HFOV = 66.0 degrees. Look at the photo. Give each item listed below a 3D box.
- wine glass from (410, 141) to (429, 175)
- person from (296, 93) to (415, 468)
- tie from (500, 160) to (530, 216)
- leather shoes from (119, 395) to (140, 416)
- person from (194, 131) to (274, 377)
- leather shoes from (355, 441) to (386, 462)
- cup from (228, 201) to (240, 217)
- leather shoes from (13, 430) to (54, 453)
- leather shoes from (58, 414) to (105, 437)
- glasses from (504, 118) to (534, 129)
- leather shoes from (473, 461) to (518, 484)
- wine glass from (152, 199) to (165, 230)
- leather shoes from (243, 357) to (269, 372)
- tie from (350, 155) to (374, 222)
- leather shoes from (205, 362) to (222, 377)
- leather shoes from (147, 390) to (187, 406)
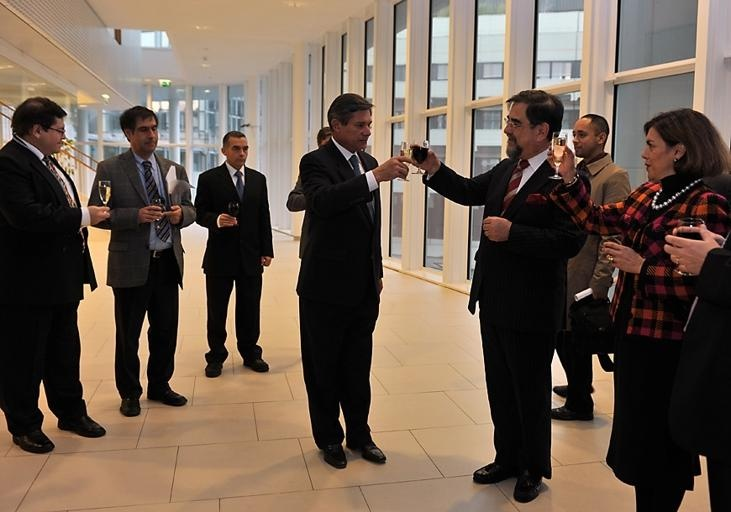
[{"bbox_3d":[0.315,-0.607,3.361,0.133,0.188,0.118,-5,19,-14],"label":"wine glass"},{"bbox_3d":[-0.129,0.160,3.572,0.600,2.316,0.479,0,10,-7],"label":"person"},{"bbox_3d":[0.870,-0.418,3.295,0.072,0.504,0.070,28,-19,-31],"label":"tie"},{"bbox_3d":[-1.758,1.118,4.216,0.141,0.115,0.141,-4,11,-24],"label":"leather shoes"},{"bbox_3d":[-1.180,-0.051,5.104,0.658,2.140,0.631,-2,11,-17],"label":"person"},{"bbox_3d":[0.028,1.276,3.706,0.080,0.079,0.213,1,0,-41],"label":"leather shoes"},{"bbox_3d":[-1.138,-0.402,4.883,0.098,0.154,0.433,-1,11,-13],"label":"cup"},{"bbox_3d":[-2.221,1.215,3.759,0.310,0.129,0.114,1,-1,18],"label":"leather shoes"},{"bbox_3d":[-1.957,1.165,3.966,0.364,0.145,0.134,4,-1,6],"label":"leather shoes"},{"bbox_3d":[0.866,-0.763,3.212,0.088,0.027,0.086,7,10,-15],"label":"glasses"},{"bbox_3d":[0.778,1.344,3.511,0.315,0.122,0.106,1,-9,-5],"label":"leather shoes"},{"bbox_3d":[-1.500,-0.315,4.072,0.086,0.090,0.207,-19,-26,-33],"label":"wine glass"},{"bbox_3d":[-1.010,0.991,5.172,0.260,0.092,0.096,-4,-1,41],"label":"leather shoes"},{"bbox_3d":[-0.028,-0.445,3.584,0.109,0.346,0.256,-11,6,10],"label":"tie"},{"bbox_3d":[-1.353,1.004,5.004,0.135,0.083,0.182,-2,11,-14],"label":"leather shoes"},{"bbox_3d":[-1.543,1.091,4.440,0.328,0.116,0.121,2,4,10],"label":"leather shoes"}]
